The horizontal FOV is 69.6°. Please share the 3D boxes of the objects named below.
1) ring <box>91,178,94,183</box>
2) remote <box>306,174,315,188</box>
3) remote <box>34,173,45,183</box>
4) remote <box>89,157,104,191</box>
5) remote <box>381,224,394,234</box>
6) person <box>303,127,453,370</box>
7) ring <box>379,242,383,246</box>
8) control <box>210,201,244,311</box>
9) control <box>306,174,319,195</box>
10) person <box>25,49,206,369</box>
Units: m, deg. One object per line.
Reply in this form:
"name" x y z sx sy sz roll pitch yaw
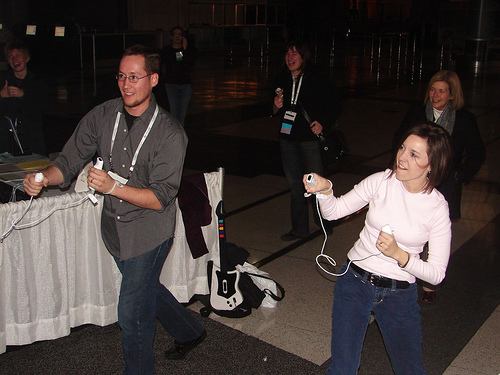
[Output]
"ring" -0.913 -0.045 2.076 0.018 0.021 0.004 -1 17 -4
"remote" 0.381 -0.040 2.241 0.058 0.058 0.102 3 -27 12
"remote" -1.376 -0.066 2.338 0.047 0.063 0.023 8 -18 -6
"remote" -0.932 -0.091 2.164 0.088 0.167 0.227 -7 18 -22
"remote" 0.738 0.224 1.922 0.041 0.073 0.020 -27 -20 -13
"person" 0.788 0.387 2.186 0.765 1.470 0.606 4 17 11
"ring" 0.694 0.295 1.893 0.017 0.023 0.007 8 -1 31
"control" -0.303 0.706 3.707 0.359 1.095 0.377 -1 25 -11
"control" 0.404 -0.012 2.258 0.071 0.071 0.127 3 -34 21
"person" -0.883 0.341 2.691 0.897 2.590 0.908 9 19 26
